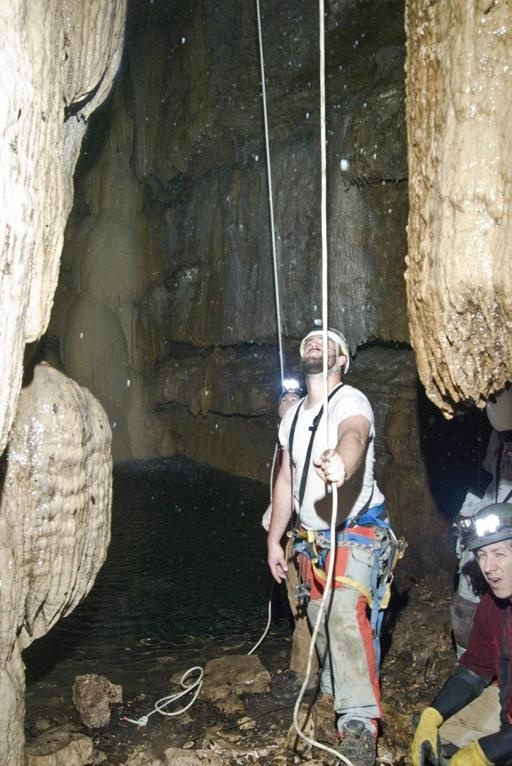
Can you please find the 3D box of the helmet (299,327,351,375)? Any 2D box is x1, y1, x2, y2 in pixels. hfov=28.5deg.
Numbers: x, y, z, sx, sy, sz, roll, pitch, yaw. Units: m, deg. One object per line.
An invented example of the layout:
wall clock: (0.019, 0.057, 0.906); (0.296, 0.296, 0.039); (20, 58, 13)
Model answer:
helmet: (0.328, -0.175, 4.258); (0.168, 0.248, 0.105); (7, 26, 20)

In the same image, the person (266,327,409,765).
person: (0.311, 0.628, 3.953); (0.520, 1.700, 1.197); (0, 2, 0)

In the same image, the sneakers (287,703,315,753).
sneakers: (0.181, 1.384, 4.079); (0.126, 0.110, 0.265); (-8, 24, 8)
